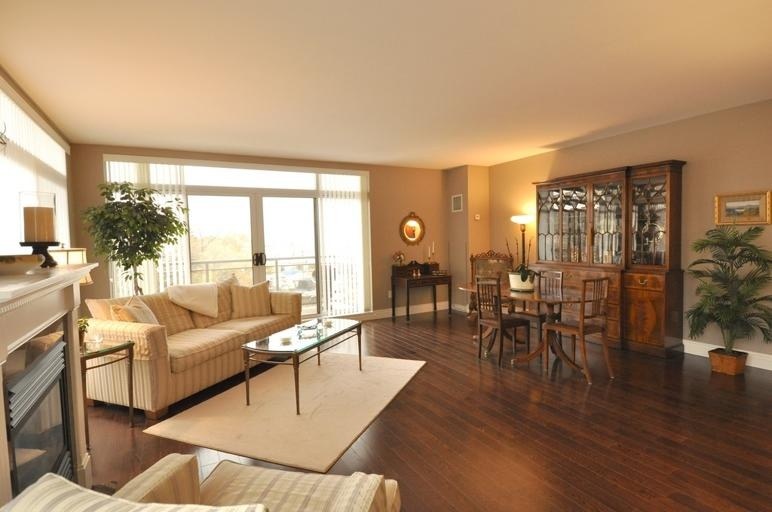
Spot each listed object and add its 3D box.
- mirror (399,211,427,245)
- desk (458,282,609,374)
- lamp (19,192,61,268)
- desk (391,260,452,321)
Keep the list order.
[{"bbox_3d":[0.478,-0.498,8.996,0.522,0.530,0.084,-5,1,-28],"label":"mirror"},{"bbox_3d":[1.997,0.784,6.578,0.957,1.097,2.187,-2,2,-23],"label":"desk"},{"bbox_3d":[-2.389,-0.174,3.377,0.206,0.522,0.307,-3,3,-34],"label":"lamp"},{"bbox_3d":[0.627,0.602,8.759,1.173,0.990,0.704,-2,3,-26],"label":"desk"}]
